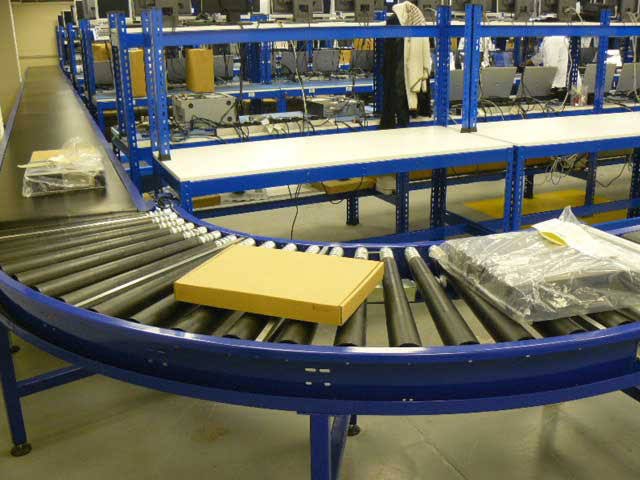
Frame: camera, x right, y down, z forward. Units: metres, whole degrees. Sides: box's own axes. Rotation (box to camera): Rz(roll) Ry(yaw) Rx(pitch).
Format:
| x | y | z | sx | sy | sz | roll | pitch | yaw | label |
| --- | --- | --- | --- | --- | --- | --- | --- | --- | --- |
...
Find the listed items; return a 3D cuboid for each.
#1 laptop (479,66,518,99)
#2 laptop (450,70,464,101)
| x | y | z | sx | sy | sz | roll | pitch | yaw | label |
| --- | --- | --- | --- | --- | --- | --- | --- | --- | --- |
| 1.521 | -1.374 | 4.271 | 0.462 | 0.252 | 0.299 | -2 | 25 | -6 | laptop |
| 1.156 | -1.286 | 4.148 | 0.094 | 0.267 | 0.271 | 3 | 22 | 17 | laptop |
